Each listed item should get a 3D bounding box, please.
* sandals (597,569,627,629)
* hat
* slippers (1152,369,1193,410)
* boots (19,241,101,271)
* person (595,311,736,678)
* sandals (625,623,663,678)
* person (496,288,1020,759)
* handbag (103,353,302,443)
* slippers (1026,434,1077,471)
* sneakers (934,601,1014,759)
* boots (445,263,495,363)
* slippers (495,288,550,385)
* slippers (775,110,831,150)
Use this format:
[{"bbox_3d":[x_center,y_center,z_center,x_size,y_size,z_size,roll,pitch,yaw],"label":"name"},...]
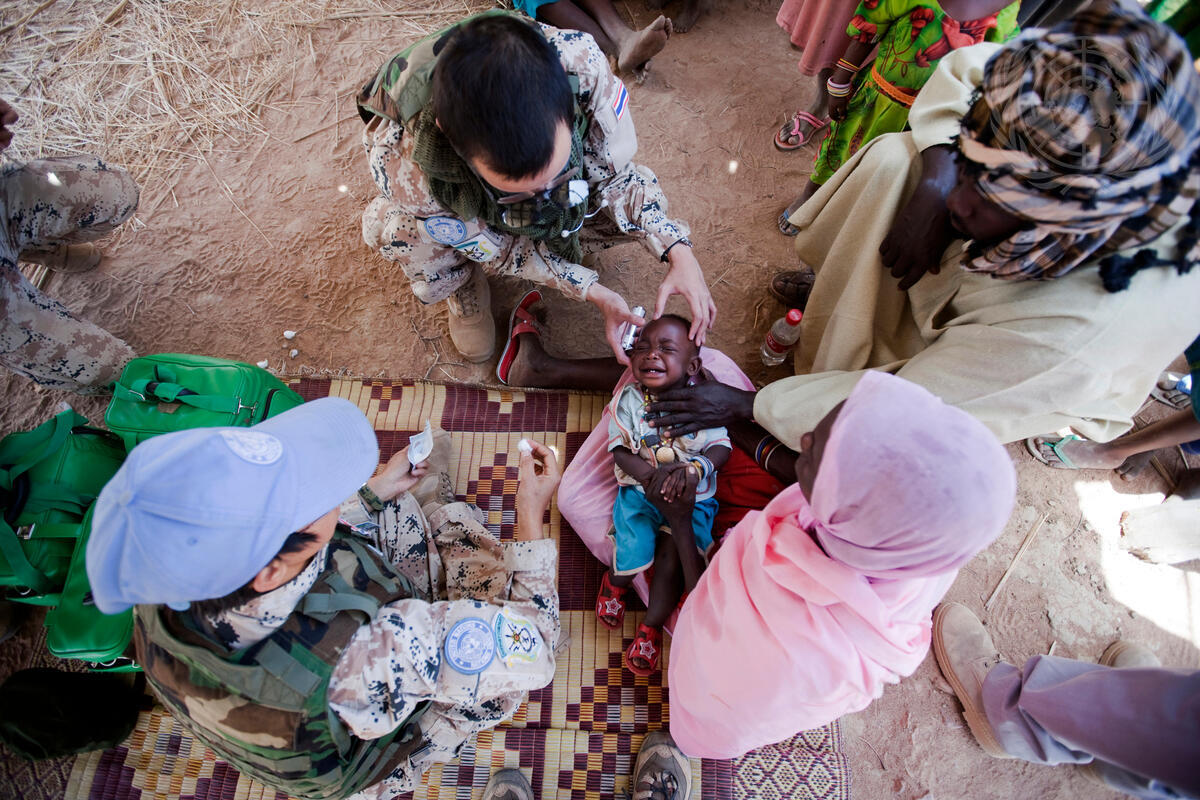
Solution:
[{"bbox_3d":[0.064,0.934,4.088,0.137,0.124,0.295,15,38,-7],"label":"sandals"},{"bbox_3d":[-1.306,0.439,3.219,0.955,0.328,0.613,-28,74,-14],"label":"hat"},{"bbox_3d":[2.695,-0.046,4.025,0.222,0.210,0.067,27,60,-37],"label":"slippers"},{"bbox_3d":[-2.889,-0.768,4.574,0.313,0.190,0.132,-6,96,-10],"label":"boots"},{"bbox_3d":[0.300,0.359,4.007,0.545,0.872,1.665,8,75,1],"label":"person"},{"bbox_3d":[0.219,1.143,3.931,0.144,0.106,0.266,21,51,14],"label":"sandals"},{"bbox_3d":[0.979,0.671,3.560,1.583,1.593,0.880,-34,74,-27],"label":"person"},{"bbox_3d":[-1.741,0.000,3.814,0.585,0.665,0.466,3,81,6],"label":"handbag"},{"bbox_3d":[2.263,0.256,4.299,0.160,0.095,0.221,0,41,18],"label":"slippers"},{"bbox_3d":[1.686,1.295,4.039,0.237,0.265,0.684,-8,77,-15],"label":"sneakers"},{"bbox_3d":[-0.650,-0.419,4.427,0.172,0.219,0.542,-8,104,3],"label":"boots"},{"bbox_3d":[-0.426,-0.342,4.527,0.157,0.197,0.535,2,66,42],"label":"slippers"},{"bbox_3d":[1.141,-1.554,4.874,0.317,0.114,0.180,-32,90,11],"label":"slippers"}]
